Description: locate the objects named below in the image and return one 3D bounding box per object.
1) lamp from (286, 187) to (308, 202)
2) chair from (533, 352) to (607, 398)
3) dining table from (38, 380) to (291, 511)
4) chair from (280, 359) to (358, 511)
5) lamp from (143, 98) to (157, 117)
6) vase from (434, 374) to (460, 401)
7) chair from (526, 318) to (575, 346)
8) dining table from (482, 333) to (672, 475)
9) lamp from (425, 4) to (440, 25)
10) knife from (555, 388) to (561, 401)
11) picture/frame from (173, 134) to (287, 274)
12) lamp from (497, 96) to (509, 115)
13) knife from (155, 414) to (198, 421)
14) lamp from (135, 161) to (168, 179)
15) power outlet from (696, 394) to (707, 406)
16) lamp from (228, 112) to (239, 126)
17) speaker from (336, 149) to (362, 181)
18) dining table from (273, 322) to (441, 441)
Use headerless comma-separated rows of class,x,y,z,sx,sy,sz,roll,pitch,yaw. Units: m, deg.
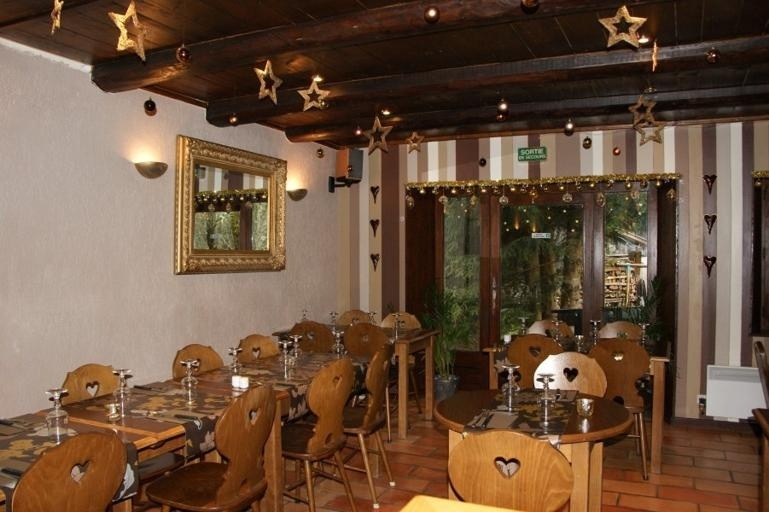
lamp,-1.029,-0.757,7.857,0.141,0.158,0.408,1,2,23
chair,1.489,0.961,5.111,0.443,0.460,0.461,-5,-14,25
dining table,-1.519,1.193,4.588,1.181,0.774,1.228,-3,-4,26
chair,-0.526,1.431,5.154,0.601,1.283,0.837,0,3,-6
lamp,-2.218,-1.435,6.063,0.129,0.169,0.248,-1,2,-21
vase,0.754,1.627,7.870,0.351,0.254,0.403,0,-8,7
chair,1.845,0.837,6.869,0.340,0.320,0.346,-2,16,1
dining table,1.554,1.187,5.068,1.188,0.805,0.427,-1,-4,22
lamp,0.343,-1.740,4.562,0.104,0.113,0.113,0,2,2
knife,1.323,1.074,4.847,0.030,0.041,0.101,0,3,9
picture/frame,-1.637,-0.522,6.907,0.109,1.424,1.502,2,3,36
lamp,1.051,-1.335,5.659,0.074,0.134,0.172,1,2,15
knife,-1.397,1.096,4.309,0.303,0.015,0.091,0,2,12
lamp,-2.189,-0.824,6.106,0.170,0.162,0.356,1,2,32
power outlet,3.583,1.642,7.204,0.142,0.149,0.079,1,1,33
lamp,-1.557,-1.424,6.612,0.101,0.117,0.459,-1,2,-13
speaker,-0.457,-1.211,8.408,0.373,0.423,0.378,0,2,-4
dining table,-0.103,1.226,6.948,1.033,1.155,1.228,-2,-2,27
